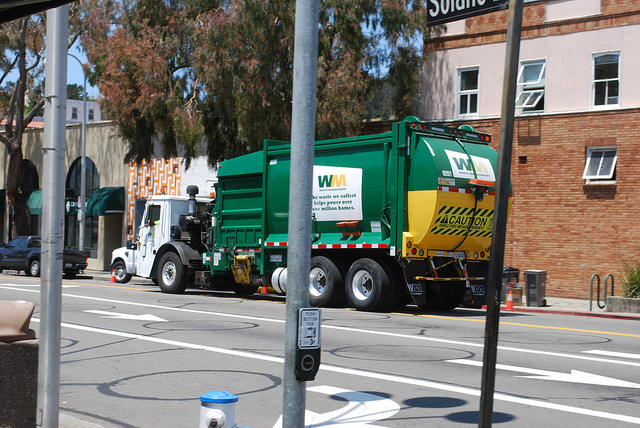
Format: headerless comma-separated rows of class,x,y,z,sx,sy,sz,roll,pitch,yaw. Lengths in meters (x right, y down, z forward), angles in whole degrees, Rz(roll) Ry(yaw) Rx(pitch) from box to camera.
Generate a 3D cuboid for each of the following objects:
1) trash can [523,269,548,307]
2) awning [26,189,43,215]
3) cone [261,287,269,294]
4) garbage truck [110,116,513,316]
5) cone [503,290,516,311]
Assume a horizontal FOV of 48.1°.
trash can,7.083,2.383,23.438,1.156,1.153,0.612,4,-4,-34
awning,-18.229,-0.897,45.927,0.705,1.612,3.284,3,-4,-25
cone,-1.673,2.305,21.874,0.218,0.193,0.220,-1,-1,33
garbage truck,-1.043,0.228,22.601,11.783,5.079,4.172,-2,-4,28
cone,5.688,2.610,21.558,0.431,0.591,0.431,3,-6,-28
